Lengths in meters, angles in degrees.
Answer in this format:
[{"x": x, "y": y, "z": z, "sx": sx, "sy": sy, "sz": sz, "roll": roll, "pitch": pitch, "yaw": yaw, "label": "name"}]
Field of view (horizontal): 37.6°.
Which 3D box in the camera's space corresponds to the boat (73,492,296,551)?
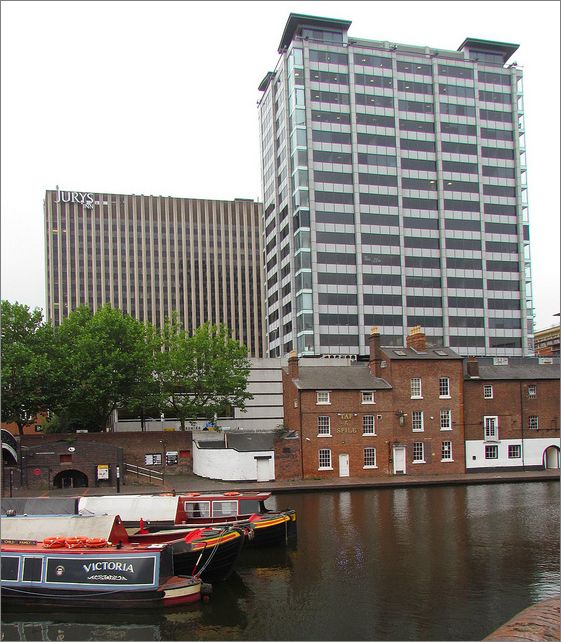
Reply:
[{"x": -4.614, "y": 9.512, "z": 38.358, "sx": 12.284, "sy": 2.717, "sz": 3.218, "roll": 0, "pitch": -4, "yaw": -10, "label": "boat"}]
